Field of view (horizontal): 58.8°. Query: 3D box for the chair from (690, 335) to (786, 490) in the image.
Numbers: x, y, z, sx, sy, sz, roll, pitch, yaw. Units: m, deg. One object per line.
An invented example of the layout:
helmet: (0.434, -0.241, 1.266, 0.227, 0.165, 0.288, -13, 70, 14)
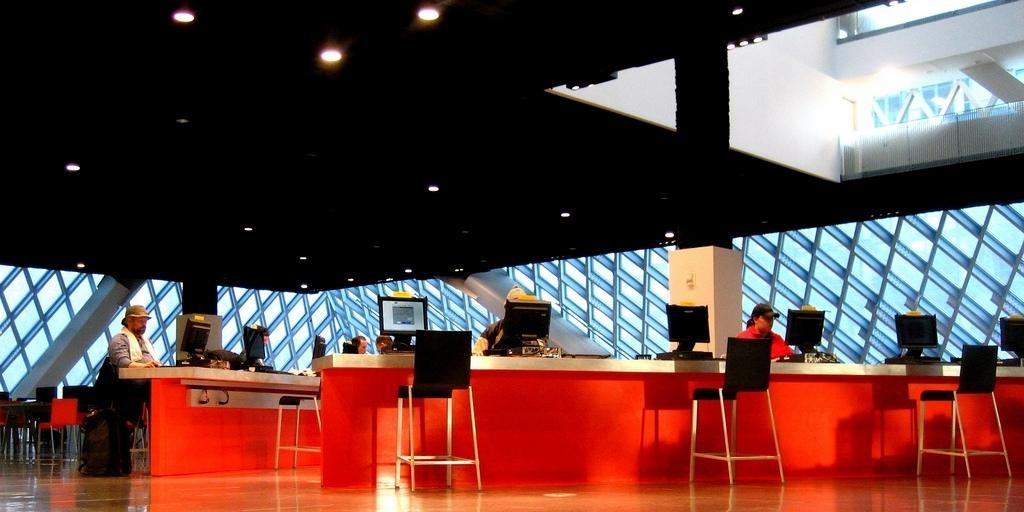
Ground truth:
chair: (4.037, 2.745, 16.204, 1.761, 2.641, 1.019, 0, 11, 0)

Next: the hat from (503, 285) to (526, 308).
hat: (0.049, 0.721, 16.718, 0.401, 0.417, 0.481, 5, 2, -1)

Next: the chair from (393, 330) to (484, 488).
chair: (-1.278, 2.611, 15.459, 1.504, 2.713, 0.903, -1, 11, -7)

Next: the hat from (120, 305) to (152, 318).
hat: (-7.257, 1.082, 17.352, 0.578, 0.222, 0.522, -9, -10, 36)

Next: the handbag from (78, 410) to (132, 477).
handbag: (-7.554, 3.464, 16.812, 0.872, 1.247, 0.548, -3, 11, -17)

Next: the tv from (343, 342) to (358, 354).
tv: (-3.427, 1.949, 19.282, 0.216, 0.171, 0.339, 5, 17, -10)

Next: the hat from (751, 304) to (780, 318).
hat: (4.703, 1.013, 16.916, 0.394, 0.255, 0.429, 4, 9, 23)

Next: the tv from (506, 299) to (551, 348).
tv: (0.258, 1.200, 16.280, 1.136, 0.876, 0.515, 1, 0, -6)

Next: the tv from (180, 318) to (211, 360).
tv: (-6.205, 1.661, 17.805, 0.510, 0.850, 0.980, -3, 10, -20)
